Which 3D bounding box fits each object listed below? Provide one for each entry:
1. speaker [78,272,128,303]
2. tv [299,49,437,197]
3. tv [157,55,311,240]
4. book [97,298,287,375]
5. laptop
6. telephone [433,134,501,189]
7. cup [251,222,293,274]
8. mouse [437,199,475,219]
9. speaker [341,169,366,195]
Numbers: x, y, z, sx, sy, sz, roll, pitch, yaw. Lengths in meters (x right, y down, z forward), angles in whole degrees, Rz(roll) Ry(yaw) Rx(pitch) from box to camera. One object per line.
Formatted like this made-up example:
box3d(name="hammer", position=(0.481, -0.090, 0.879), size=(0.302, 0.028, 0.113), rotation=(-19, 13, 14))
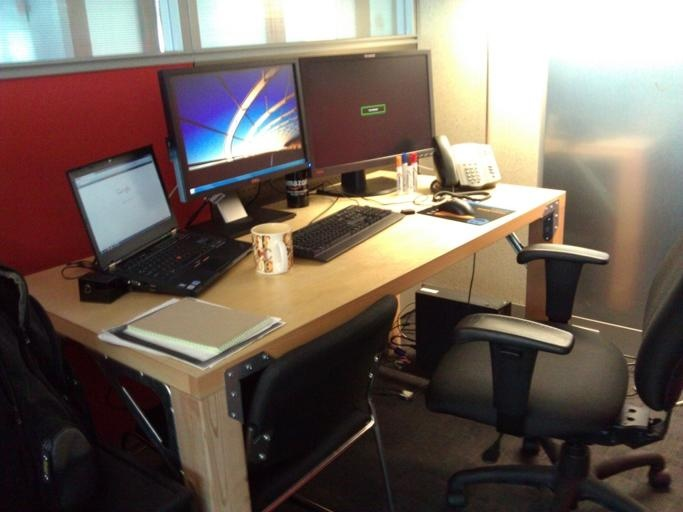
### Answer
box3d(name="speaker", position=(-0.709, 0.086, 1.648), size=(0.095, 0.063, 0.100), rotation=(8, 20, 15))
box3d(name="tv", position=(0.109, -0.587, 2.421), size=(0.545, 0.511, 0.194), rotation=(-17, 25, -33))
box3d(name="tv", position=(-0.413, -0.421, 2.080), size=(0.231, 0.550, 0.561), rotation=(14, 27, 35))
box3d(name="book", position=(-0.395, 0.190, 1.456), size=(0.226, 0.035, 0.233), rotation=(14, 30, 25))
box3d(name="laptop", position=(-0.573, -0.057, 1.769), size=(0.449, 0.402, 0.532), rotation=(12, 27, 12))
box3d(name="telephone", position=(0.559, -0.416, 2.544), size=(0.309, 0.260, 0.221), rotation=(-6, 23, -10))
box3d(name="cup", position=(-0.237, -0.035, 1.845), size=(0.101, 0.120, 0.169), rotation=(-8, 24, -16))
box3d(name="mouse", position=(0.456, -0.190, 2.210), size=(0.118, 0.045, 0.066), rotation=(12, 25, 35))
box3d(name="speaker", position=(0.059, -0.332, 2.524), size=(0.104, 0.125, 0.106), rotation=(18, 31, 38))
